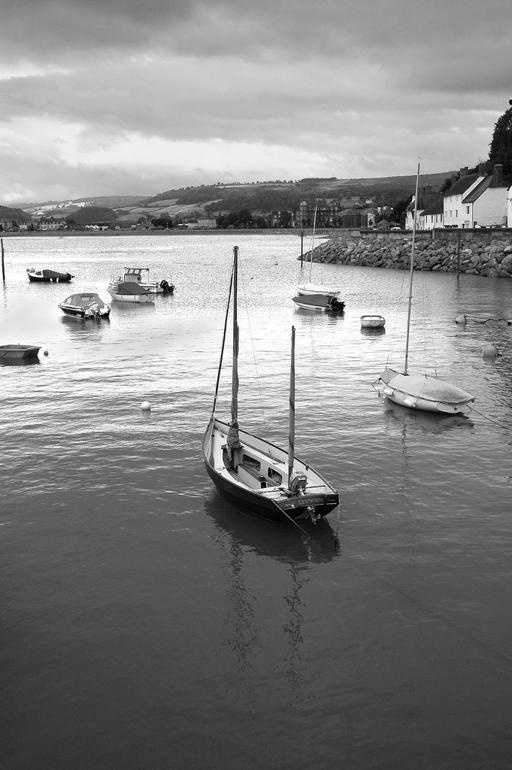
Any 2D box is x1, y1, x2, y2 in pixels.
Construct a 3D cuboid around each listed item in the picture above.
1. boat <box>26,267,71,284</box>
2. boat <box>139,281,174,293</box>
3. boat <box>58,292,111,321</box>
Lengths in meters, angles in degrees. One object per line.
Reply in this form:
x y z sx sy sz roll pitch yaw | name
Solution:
-33.314 -17.768 110.386 7.524 2.005 4.949 3 12 17 | boat
-12.640 -12.798 87.928 2.701 1.289 4.896 -1 15 -20 | boat
-16.654 -7.939 67.785 3.168 2.289 5.046 -10 15 -42 | boat
